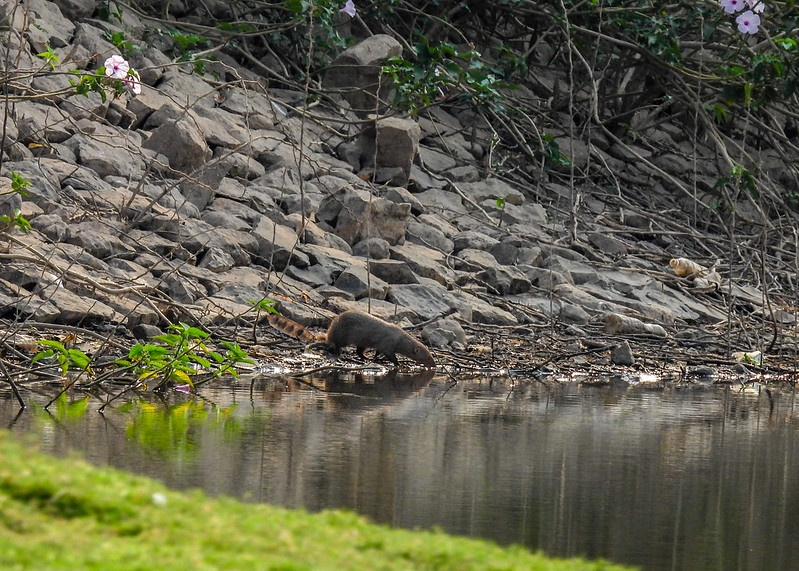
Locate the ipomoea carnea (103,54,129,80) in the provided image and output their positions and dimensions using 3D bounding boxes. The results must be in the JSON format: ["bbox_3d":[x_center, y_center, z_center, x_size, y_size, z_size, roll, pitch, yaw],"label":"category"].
[{"bbox_3d":[-2.958,-2.219,17.335,0.315,0.257,0.086,9,-25,-21],"label":"ipomoea carnea"}]
